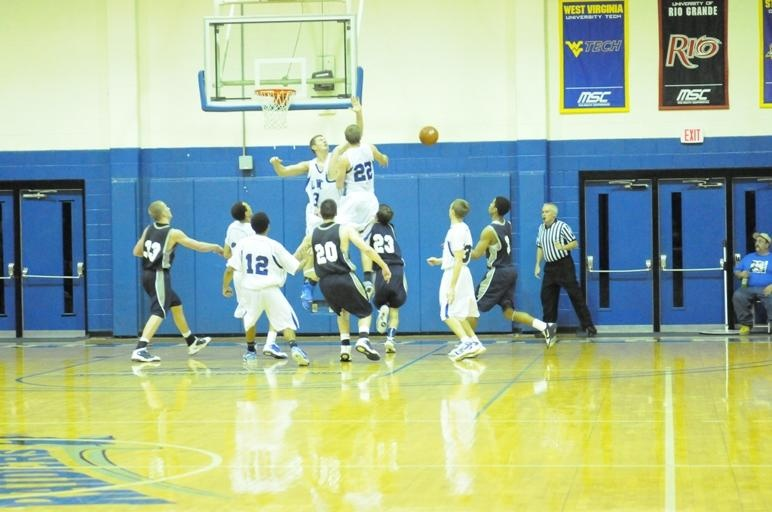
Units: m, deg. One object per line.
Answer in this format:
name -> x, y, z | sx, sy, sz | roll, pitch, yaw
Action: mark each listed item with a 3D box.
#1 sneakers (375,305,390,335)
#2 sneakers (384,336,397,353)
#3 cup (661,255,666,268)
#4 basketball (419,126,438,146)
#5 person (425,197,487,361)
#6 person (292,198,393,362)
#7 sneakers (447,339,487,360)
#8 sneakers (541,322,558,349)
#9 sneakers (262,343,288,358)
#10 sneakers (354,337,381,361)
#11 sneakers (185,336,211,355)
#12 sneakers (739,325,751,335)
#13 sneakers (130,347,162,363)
sneakers -> -0.030, 0.959, 11.820 | 0.198, 0.467, 0.188 | 6, 6, -3
sneakers -> 0.075, 1.321, 12.126 | 0.135, 0.163, 0.364 | 2, 1, 4
cup -> 5.017, 0.095, 14.739 | 0.125, 0.257, 0.056 | -2, 3, -19
basketball -> 0.797, -2.201, 14.923 | 0.350, 0.348, 0.342 | -1, 3, 0
person -> 1.043, 0.354, 11.600 | 0.645, 2.304, 0.862 | -1, 3, 5
person -> -0.629, 0.374, 11.262 | 1.166, 2.322, 1.039 | -2, 3, -13
sneakers -> 1.144, 1.338, 11.692 | 0.245, 0.247, 0.553 | -19, 4, -43
sneakers -> 2.456, 1.282, 12.289 | 0.281, 0.586, 0.202 | 0, 15, 14
sneakers -> -1.515, 1.355, 11.678 | 0.504, 0.213, 0.178 | 6, 1, -42
sneakers -> -0.214, 1.337, 11.393 | 0.176, 0.240, 0.540 | -11, -25, 29
sneakers -> -2.824, 1.349, 12.426 | 0.490, 0.200, 0.230 | -18, 10, 5
sneakers -> 6.144, 1.261, 13.966 | 0.171, 0.144, 0.310 | 0, 4, 27
sneakers -> -3.531, 1.438, 11.830 | 0.568, 0.246, 0.201 | 1, 3, -5
